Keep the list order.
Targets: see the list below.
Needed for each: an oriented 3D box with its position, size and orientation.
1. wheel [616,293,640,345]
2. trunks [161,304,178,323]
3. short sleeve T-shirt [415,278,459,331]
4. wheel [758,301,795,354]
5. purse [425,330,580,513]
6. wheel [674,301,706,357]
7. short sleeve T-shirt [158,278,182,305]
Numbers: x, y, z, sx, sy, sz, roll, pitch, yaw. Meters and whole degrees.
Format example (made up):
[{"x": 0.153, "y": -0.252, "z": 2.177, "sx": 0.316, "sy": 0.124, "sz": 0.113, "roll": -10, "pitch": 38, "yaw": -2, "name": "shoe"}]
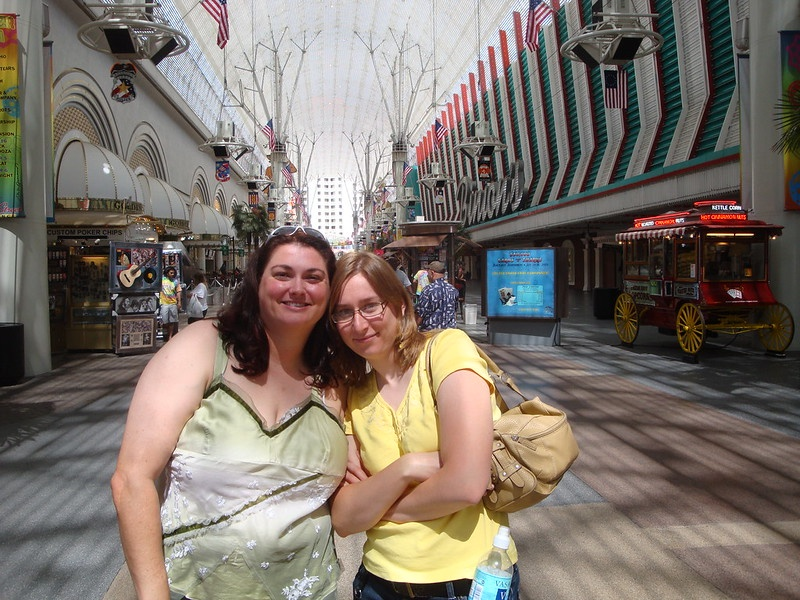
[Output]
[{"x": 6.932, "y": 0.551, "z": 14.359, "sx": 1.495, "sy": 1.558, "sz": 0.259, "roll": 4, "pitch": -10, "yaw": -39, "name": "wheel"}, {"x": -7.210, "y": 0.426, "z": 14.638, "sx": 0.639, "sy": 0.834, "sz": 0.474, "roll": 1, "pitch": -7, "yaw": -30, "name": "trunks"}, {"x": 0.846, "y": 0.166, "z": 9.793, "sx": 0.994, "sy": 1.305, "sz": 0.670, "roll": 0, "pitch": 3, "yaw": -31, "name": "short sleeve T-shirt"}, {"x": 9.728, "y": 0.658, "z": 12.058, "sx": 0.368, "sy": 1.287, "sz": 1.220, "roll": -4, "pitch": -4, "yaw": -4, "name": "wheel"}, {"x": 0.445, "y": 0.455, "z": 1.988, "sx": 0.420, "sy": 0.803, "sz": 0.537, "roll": -24, "pitch": -10, "yaw": 26, "name": "purse"}, {"x": 7.390, "y": 0.683, "z": 11.863, "sx": 0.356, "sy": 1.413, "sz": 1.330, "roll": 1, "pitch": 2, "yaw": -6, "name": "wheel"}, {"x": -7.150, "y": -0.277, "z": 14.462, "sx": 0.838, "sy": 0.958, "sz": 0.465, "roll": 3, "pitch": -2, "yaw": -42, "name": "short sleeve T-shirt"}]
